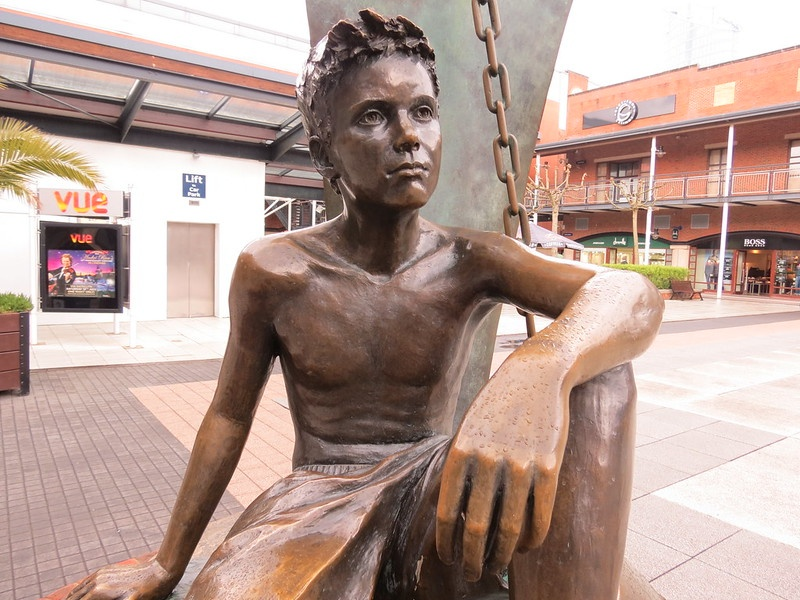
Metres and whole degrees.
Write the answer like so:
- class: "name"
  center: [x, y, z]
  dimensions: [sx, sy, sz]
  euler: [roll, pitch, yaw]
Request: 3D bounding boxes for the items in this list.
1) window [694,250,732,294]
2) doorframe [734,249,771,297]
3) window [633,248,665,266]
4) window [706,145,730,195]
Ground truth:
- class: "window"
  center: [15.271, -1.410, 26.410]
  dimensions: [1.760, 2.584, 0.081]
  euler: [6, -29, 26]
- class: "doorframe"
  center: [16.766, -1.325, 25.737]
  dimensions: [1.373, 2.034, 0.754]
  euler: [3, 5, 30]
- class: "window"
  center: [12.282, -2.119, 26.589]
  dimensions: [1.342, 1.033, 0.784]
  euler: [0, -1, -16]
- class: "window"
  center: [15.225, -6.076, 25.875]
  dimensions: [0.783, 2.392, 0.111]
  euler: [2, -12, 20]
